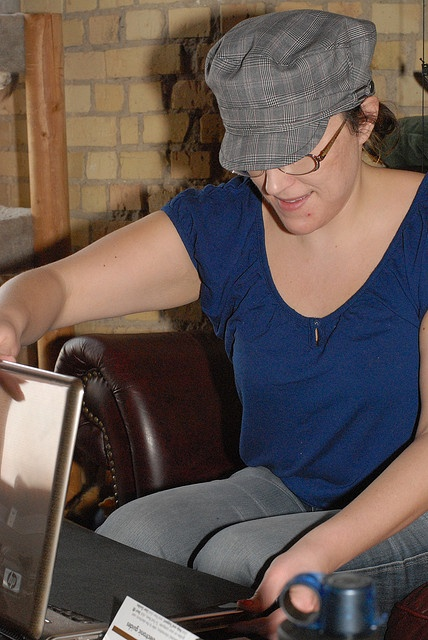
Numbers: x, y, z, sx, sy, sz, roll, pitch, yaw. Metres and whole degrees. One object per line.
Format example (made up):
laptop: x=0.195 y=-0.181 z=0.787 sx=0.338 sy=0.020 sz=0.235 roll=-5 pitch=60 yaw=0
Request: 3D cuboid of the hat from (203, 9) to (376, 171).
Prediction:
hat: x=0.094 y=-0.274 z=0.681 sx=0.191 sy=0.099 sz=0.208 roll=-7 pitch=81 yaw=-7
